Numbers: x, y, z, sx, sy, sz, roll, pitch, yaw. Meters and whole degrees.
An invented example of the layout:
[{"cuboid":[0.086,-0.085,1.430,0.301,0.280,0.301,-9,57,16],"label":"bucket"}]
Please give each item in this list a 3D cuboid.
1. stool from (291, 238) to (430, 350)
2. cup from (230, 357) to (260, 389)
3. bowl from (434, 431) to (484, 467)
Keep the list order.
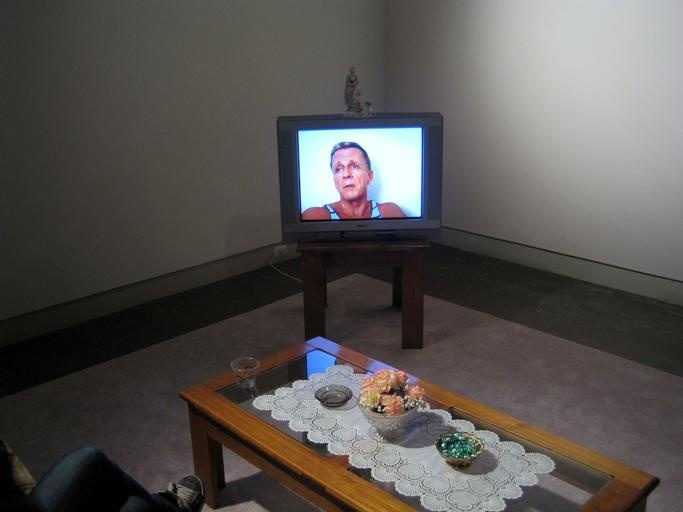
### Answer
[{"cuboid":[0.158,0.138,3.908,0.764,0.779,0.806,-1,18,3],"label":"stool"},{"cuboid":[-0.470,0.560,2.478,0.121,0.094,0.124,0,14,0],"label":"cup"},{"cuboid":[0.451,0.739,1.962,0.110,0.050,0.120,-9,18,3],"label":"bowl"}]
